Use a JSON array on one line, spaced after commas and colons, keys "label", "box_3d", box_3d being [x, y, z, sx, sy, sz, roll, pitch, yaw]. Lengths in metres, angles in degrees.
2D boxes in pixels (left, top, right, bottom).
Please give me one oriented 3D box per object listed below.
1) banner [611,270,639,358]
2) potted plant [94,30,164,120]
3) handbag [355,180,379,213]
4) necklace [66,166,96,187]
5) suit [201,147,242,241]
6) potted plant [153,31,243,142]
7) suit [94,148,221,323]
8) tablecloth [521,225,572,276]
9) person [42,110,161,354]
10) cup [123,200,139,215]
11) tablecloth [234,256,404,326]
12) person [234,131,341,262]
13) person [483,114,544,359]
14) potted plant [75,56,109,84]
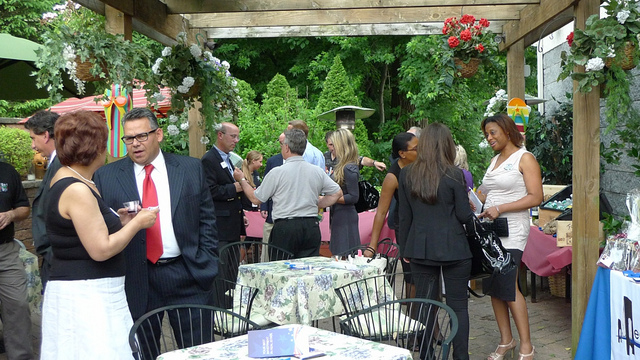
[{"label": "banner", "box_3d": [2.997, 1.352, 4.939, 0.119, 0.756, 0.505, -3, -2, 8]}, {"label": "potted plant", "box_3d": [-2.329, -1.300, 5.801, 0.455, 0.682, 0.659, -15, 11, -20]}, {"label": "handbag", "box_3d": [0.672, 0.256, 7.420, 0.504, 0.485, 0.242, -9, 15, 3]}, {"label": "necklace", "box_3d": [-2.069, -0.038, 4.322, 0.237, 0.029, 0.033, 44, -13, -24]}, {"label": "suit", "box_3d": [-1.264, 0.334, 7.000, 0.557, 1.513, 0.552, 10, 21, 30]}, {"label": "potted plant", "box_3d": [-1.633, -1.291, 7.024, 1.369, 1.243, 1.757, 4, 2, -26]}, {"label": "suit", "box_3d": [-1.575, 0.532, 4.958, 1.073, 1.620, 0.307, -2, -2, -22]}, {"label": "tablecloth", "box_3d": [3.193, 1.009, 7.161, 0.296, 0.540, 0.912, -2, -2, -3]}, {"label": "person", "box_3d": [-1.980, 0.462, 4.358, 0.853, 2.128, 0.338, -2, -2, -19]}, {"label": "cup", "box_3d": [-1.675, 0.246, 4.476, 0.116, 0.082, 0.114, -3, -2, 0]}, {"label": "tablecloth", "box_3d": [-0.094, 1.243, 5.584, 1.701, 0.634, 0.938, -2, -2, -11]}, {"label": "person", "box_3d": [-0.355, 0.186, 6.491, 1.234, 1.614, 0.470, -2, -2, -2]}, {"label": "person", "box_3d": [2.275, 0.682, 5.995, 0.731, 2.125, 1.448, -3, -2, 23]}, {"label": "potted plant", "box_3d": [-2.557, -1.210, 5.584, 0.274, 0.202, 0.306, -1, -4, -15]}]
